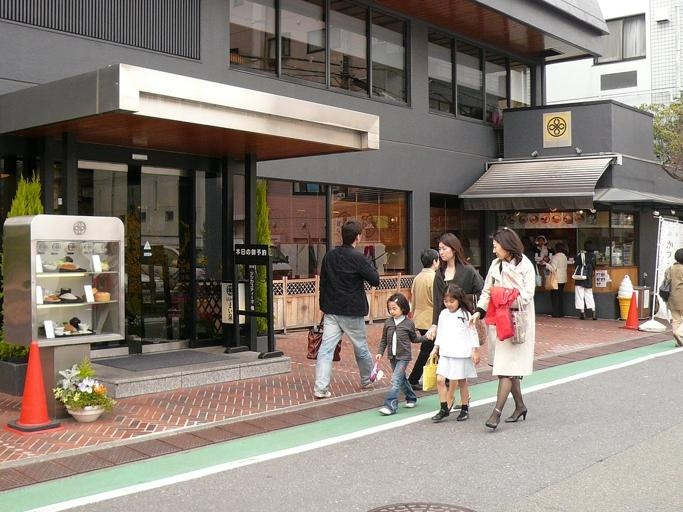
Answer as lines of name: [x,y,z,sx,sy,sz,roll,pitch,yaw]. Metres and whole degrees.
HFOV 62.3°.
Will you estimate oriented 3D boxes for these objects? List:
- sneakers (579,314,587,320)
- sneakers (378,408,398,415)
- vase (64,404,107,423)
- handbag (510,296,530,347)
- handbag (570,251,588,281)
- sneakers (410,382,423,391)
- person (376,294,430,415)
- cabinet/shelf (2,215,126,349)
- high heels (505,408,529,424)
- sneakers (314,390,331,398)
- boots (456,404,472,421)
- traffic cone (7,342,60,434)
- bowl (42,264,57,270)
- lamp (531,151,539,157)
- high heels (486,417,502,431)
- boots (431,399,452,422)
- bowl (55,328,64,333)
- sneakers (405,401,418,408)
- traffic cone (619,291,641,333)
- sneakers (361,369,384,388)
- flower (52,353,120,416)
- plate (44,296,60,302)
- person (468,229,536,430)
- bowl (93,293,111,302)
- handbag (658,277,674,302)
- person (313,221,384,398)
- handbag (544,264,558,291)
sneakers: [6.916,1.726,16.059,0.132,0.163,0.147,-1,6,-40]
sneakers: [0.568,1.943,7.054,0.081,0.101,0.217,-12,-23,36]
vase: [-3.056,1.858,6.754,0.399,0.222,0.321,0,1,-17]
handbag: [2.080,0.733,6.473,0.211,0.549,0.099,0,1,-14]
handbag: [6.723,0.295,15.791,0.346,0.788,0.234,1,1,24]
sneakers: [1.106,1.920,8.288,0.084,0.125,0.286,-5,-12,27]
person: [0.780,1.240,7.236,0.610,1.499,0.771,0,1,8]
cabinet/shelf: [-3.599,0.329,7.251,0.657,2.017,1.624,-3,-4,36]
high heels: [2.132,1.930,6.891,0.379,0.203,0.130,0,-5,-23]
sneakers: [-0.257,1.900,7.773,0.085,0.122,0.253,-4,-14,29]
boots: [1.517,1.905,6.899,0.103,0.246,0.243,-6,-8,44]
traffic cone: [-3.536,1.478,6.450,0.507,0.956,0.331,1,1,27]
bowl: [-3.706,0.152,7.160,0.038,0.096,0.175,1,1,23]
lamp: [6.152,-3.221,17.862,0.181,0.230,0.192,0,1,19]
high heels: [1.739,1.867,6.399,0.093,0.112,0.274,-2,-9,30]
boots: [1.207,1.881,6.821,0.342,0.247,0.122,-2,-5,-45]
bowl: [-3.539,0.933,7.073,0.065,0.052,0.068,0,-1,0]
sneakers: [0.909,1.935,7.392,0.059,0.075,0.169,-4,-14,25]
traffic cone: [7.613,1.426,14.719,0.338,0.859,1.095,1,1,28]
sneakers: [0.440,1.664,7.705,0.242,0.208,0.594,-26,-11,-3]
flower: [-3.107,1.527,6.822,0.608,0.519,0.696,7,0,-16]
plate: [-3.681,0.541,7.162,0.055,0.093,0.183,1,1,26]
person: [1.941,0.844,6.644,0.606,2.323,0.830,1,2,41]
bowl: [-3.255,0.562,7.657,0.124,0.081,0.131,1,-3,0]
handbag: [6.972,0.737,12.076,0.224,0.508,0.437,1,1,33]
person: [0.068,0.726,7.923,0.892,2.433,0.694,0,1,3]
handbag: [6.131,0.615,16.362,0.331,0.747,0.419,0,1,21]
